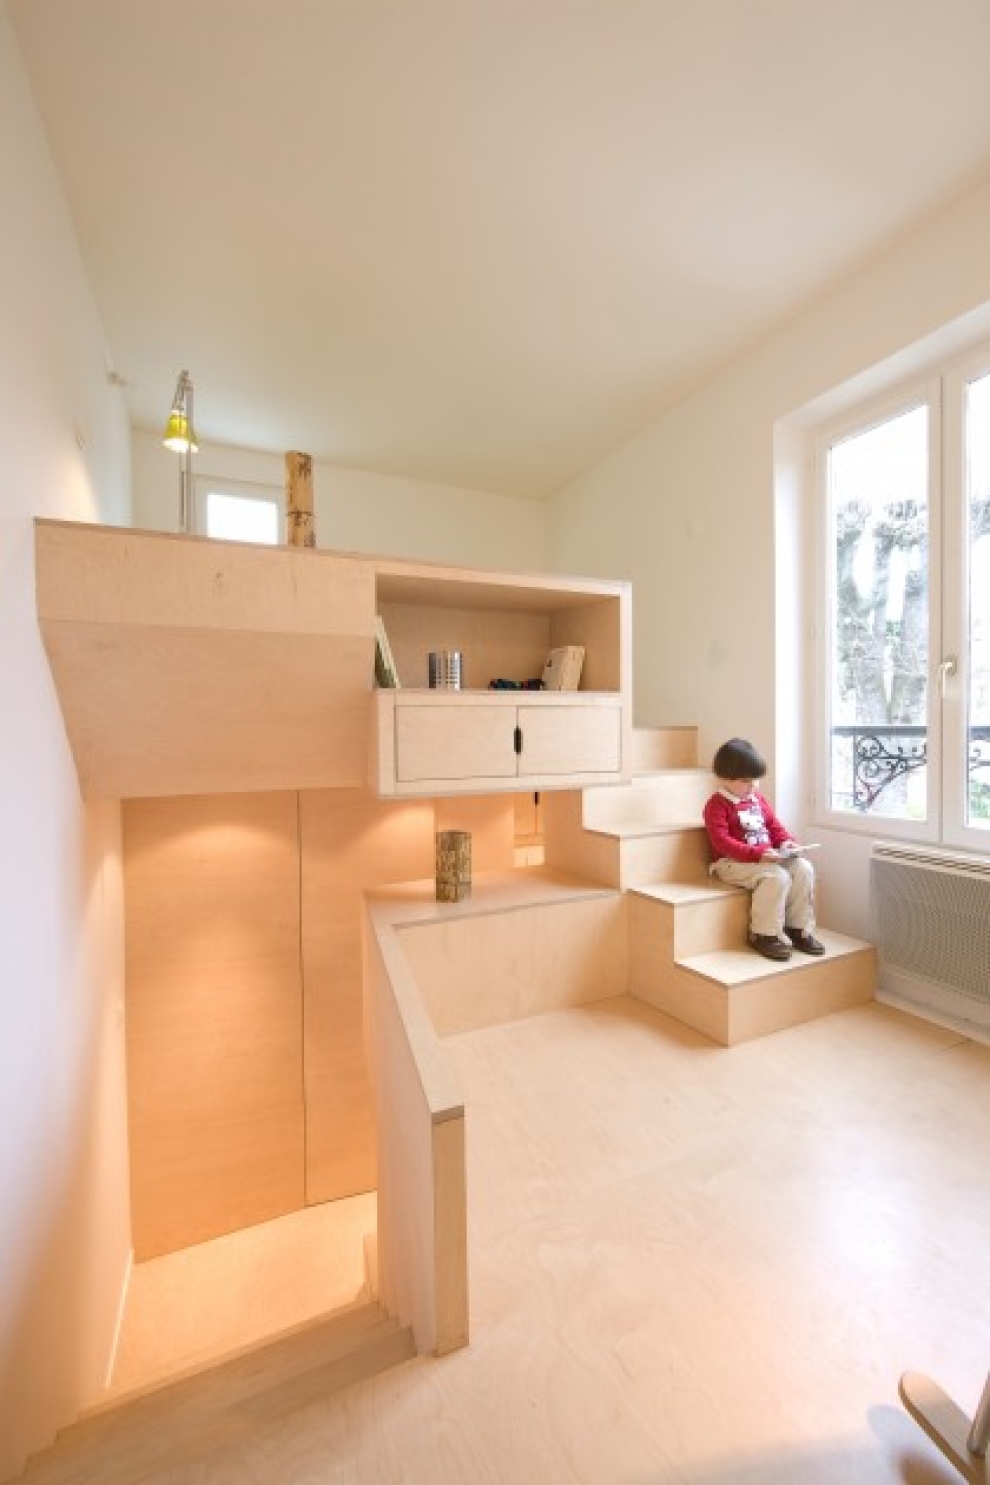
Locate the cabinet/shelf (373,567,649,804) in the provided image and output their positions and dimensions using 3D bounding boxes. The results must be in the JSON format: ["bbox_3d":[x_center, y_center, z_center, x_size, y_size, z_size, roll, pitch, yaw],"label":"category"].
[{"bbox_3d":[-0.034,-0.194,2.806,0.820,0.646,0.452,-11,16,-30],"label":"cabinet/shelf"}]

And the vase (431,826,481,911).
[{"bbox_3d":[-0.115,0.362,2.918,0.140,0.277,0.148,-1,0,40],"label":"vase"}]

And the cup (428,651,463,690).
[{"bbox_3d":[-0.136,-0.187,2.727,0.083,0.112,0.094,0,0,28],"label":"cup"}]

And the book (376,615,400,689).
[{"bbox_3d":[-0.269,-0.197,2.543,0.037,0.179,0.139,-1,-3,-12],"label":"book"}]

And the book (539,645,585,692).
[{"bbox_3d":[0.195,-0.212,2.958,0.045,0.142,0.139,4,0,-16],"label":"book"}]

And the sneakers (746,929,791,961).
[{"bbox_3d":[0.727,0.556,2.759,0.043,0.106,0.126,5,-9,-38],"label":"sneakers"}]
